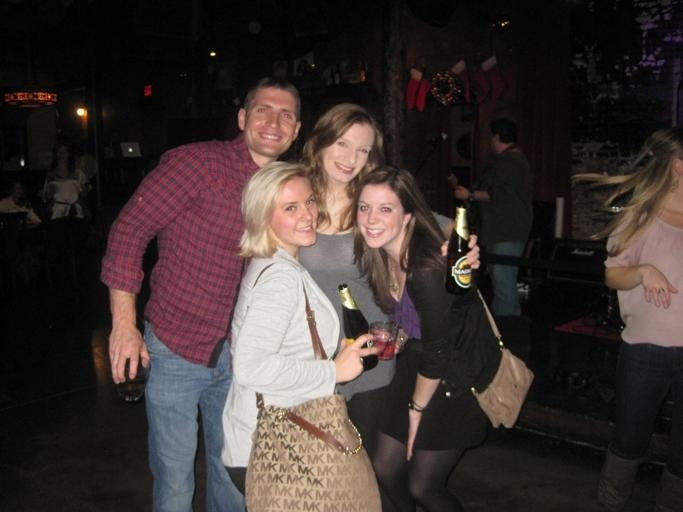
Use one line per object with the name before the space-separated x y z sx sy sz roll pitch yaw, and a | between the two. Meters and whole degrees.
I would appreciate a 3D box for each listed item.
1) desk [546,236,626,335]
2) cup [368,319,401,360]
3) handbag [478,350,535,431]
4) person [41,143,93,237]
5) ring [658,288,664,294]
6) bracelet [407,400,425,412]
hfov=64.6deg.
desk | 2.957 0.381 6.588 0.927 0.891 1.369 3 2 26
cup | 0.240 0.469 2.969 0.207 0.219 0.201 0 13 0
handbag | 0.912 0.735 3.028 0.230 0.404 0.245 9 14 37
person | -2.988 -0.757 5.824 0.462 0.865 0.257 -5 12 -26
ring | 1.983 0.217 3.348 0.033 0.029 0.009 2 -6 37
bracelet | 0.421 0.840 3.028 0.073 0.038 0.052 13 5 -18
